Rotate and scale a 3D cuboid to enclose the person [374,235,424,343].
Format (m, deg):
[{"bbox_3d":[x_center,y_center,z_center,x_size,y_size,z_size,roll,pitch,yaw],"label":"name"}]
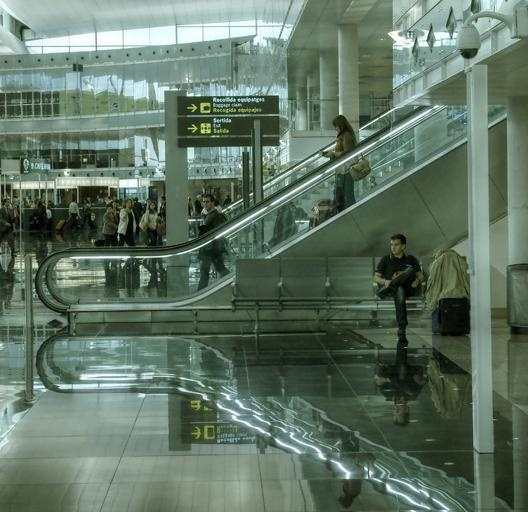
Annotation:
[{"bbox_3d":[1.670,0.329,8.353,0.608,1.168,1.189,-1,3,13],"label":"person"}]

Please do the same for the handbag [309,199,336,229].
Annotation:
[{"bbox_3d":[0.851,-0.616,9.794,0.386,0.441,0.302,4,-1,2],"label":"handbag"}]

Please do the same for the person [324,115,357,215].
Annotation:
[{"bbox_3d":[1.179,-1.385,10.213,0.443,1.471,0.907,-1,3,7],"label":"person"}]

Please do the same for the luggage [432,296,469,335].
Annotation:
[{"bbox_3d":[2.284,0.650,8.156,0.398,0.466,0.331,-4,12,9],"label":"luggage"}]

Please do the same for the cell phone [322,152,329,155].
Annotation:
[{"bbox_3d":[0.986,-1.586,10.730,0.057,0.067,0.084,-8,14,-39],"label":"cell phone"}]

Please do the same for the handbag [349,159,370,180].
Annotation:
[{"bbox_3d":[1.391,-1.241,9.827,0.231,0.183,0.077,-26,8,-24],"label":"handbag"}]

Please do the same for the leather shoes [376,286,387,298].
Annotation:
[{"bbox_3d":[1.470,0.463,8.342,0.094,0.131,0.109,15,-19,48],"label":"leather shoes"}]

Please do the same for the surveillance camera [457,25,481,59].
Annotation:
[{"bbox_3d":[1.237,-1.273,4.082,0.127,0.182,0.071,-1,2,15],"label":"surveillance camera"}]
